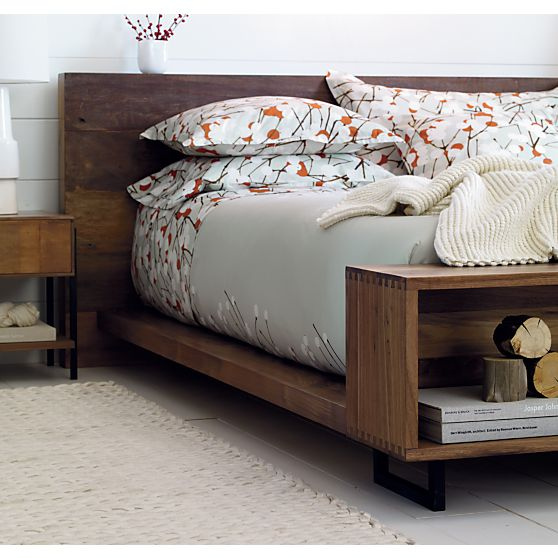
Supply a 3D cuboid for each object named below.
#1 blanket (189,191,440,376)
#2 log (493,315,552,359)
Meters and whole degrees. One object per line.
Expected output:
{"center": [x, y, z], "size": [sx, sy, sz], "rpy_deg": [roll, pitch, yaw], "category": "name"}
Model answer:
{"center": [0.141, 0.002, 1.542], "size": [0.635, 0.160, 0.572], "rpy_deg": [-4, 11, -27], "category": "blanket"}
{"center": [0.437, 0.103, 1.130], "size": [0.096, 0.077, 0.046], "rpy_deg": [2, 0, 7], "category": "log"}
